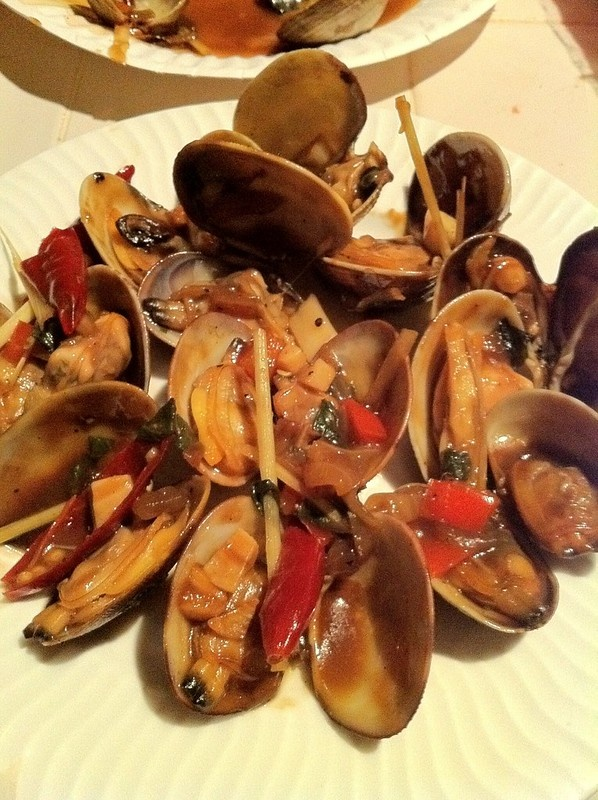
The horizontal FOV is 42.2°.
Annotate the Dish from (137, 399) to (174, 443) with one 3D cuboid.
[{"bbox_3d":[-0.230,0.035,1.234,0.050,0.017,0.068,18,81,6],"label":"Dish"}]

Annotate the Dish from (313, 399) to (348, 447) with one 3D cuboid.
[{"bbox_3d":[0.052,0.041,1.334,0.084,0.018,0.059,51,54,-7],"label":"Dish"}]

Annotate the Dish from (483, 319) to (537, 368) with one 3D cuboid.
[{"bbox_3d":[0.396,-0.098,1.433,0.092,0.028,0.086,34,111,11],"label":"Dish"}]

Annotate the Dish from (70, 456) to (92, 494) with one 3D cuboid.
[{"bbox_3d":[-0.370,0.129,1.313,0.047,0.014,0.053,-12,68,30],"label":"Dish"}]

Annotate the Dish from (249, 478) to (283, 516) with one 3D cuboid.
[{"bbox_3d":[-0.052,0.157,1.223,0.041,0.025,0.048,4,86,42],"label":"Dish"}]

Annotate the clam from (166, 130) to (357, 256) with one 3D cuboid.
[{"bbox_3d":[-0.071,-0.329,1.392,0.364,0.282,0.099,5,61,15],"label":"clam"}]

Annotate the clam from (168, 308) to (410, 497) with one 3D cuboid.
[{"bbox_3d":[-0.025,-0.032,1.291,0.375,0.140,0.333,-5,64,-4],"label":"clam"}]

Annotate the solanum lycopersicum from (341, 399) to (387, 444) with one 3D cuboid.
[{"bbox_3d":[0.113,0.043,1.320,0.061,0.026,0.073,-10,61,-21],"label":"solanum lycopersicum"}]

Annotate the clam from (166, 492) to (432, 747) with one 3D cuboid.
[{"bbox_3d":[-0.002,0.336,1.206,0.473,0.138,0.338,-11,79,26],"label":"clam"}]

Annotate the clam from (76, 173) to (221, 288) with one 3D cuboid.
[{"bbox_3d":[-0.311,-0.329,1.470,0.220,0.081,0.236,-18,59,0],"label":"clam"}]
